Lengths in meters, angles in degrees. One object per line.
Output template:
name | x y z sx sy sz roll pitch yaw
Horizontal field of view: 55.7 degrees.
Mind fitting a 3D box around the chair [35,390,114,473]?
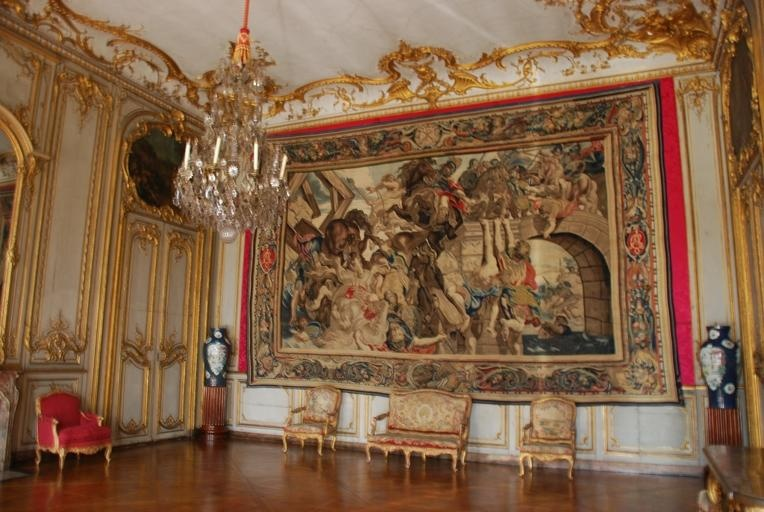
chair | -5.048 2.758 11.515 1.151 1.471 1.100 -9 -15 28

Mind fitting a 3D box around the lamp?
lamp | -2.238 -2.104 11.231 1.553 3.399 2.683 1 0 -8

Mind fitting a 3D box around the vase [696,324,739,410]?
vase | 5.217 1.711 11.188 0.544 1.327 0.242 1 0 26

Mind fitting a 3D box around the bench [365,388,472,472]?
bench | 0.711 2.793 12.124 1.960 1.389 1.149 -6 -25 22

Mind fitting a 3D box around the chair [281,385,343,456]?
chair | -1.271 2.909 12.846 1.012 1.182 1.241 1 0 3

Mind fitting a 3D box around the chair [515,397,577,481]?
chair | 2.667 2.866 11.582 0.814 1.301 0.821 1 0 14

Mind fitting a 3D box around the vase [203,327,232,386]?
vase | -3.154 1.926 13.721 0.476 1.063 0.243 1 0 -12
